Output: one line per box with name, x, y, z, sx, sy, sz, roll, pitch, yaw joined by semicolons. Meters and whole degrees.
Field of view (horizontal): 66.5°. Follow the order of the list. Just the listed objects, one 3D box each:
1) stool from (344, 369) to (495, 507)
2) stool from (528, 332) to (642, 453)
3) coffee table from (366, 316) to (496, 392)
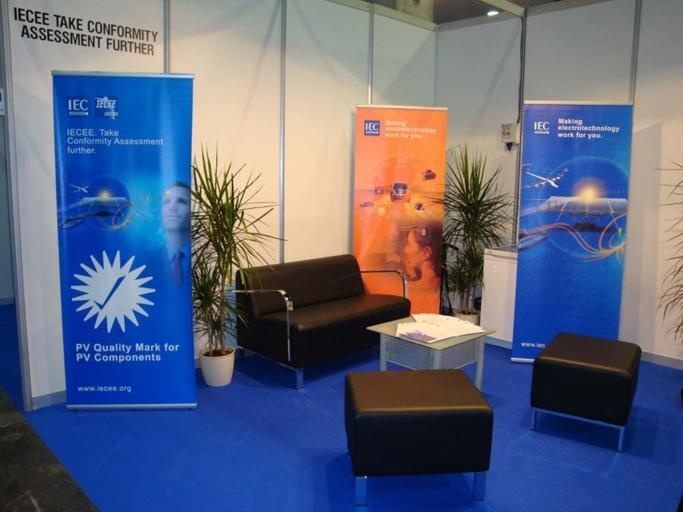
stool;0.510;1.132;3.405;0.764;0.577;0.819;0;8;-3
stool;2.008;1.091;4.415;0.798;0.632;0.824;2;11;20
coffee table;0.818;0.653;4.591;0.686;0.491;0.718;-6;9;-40
